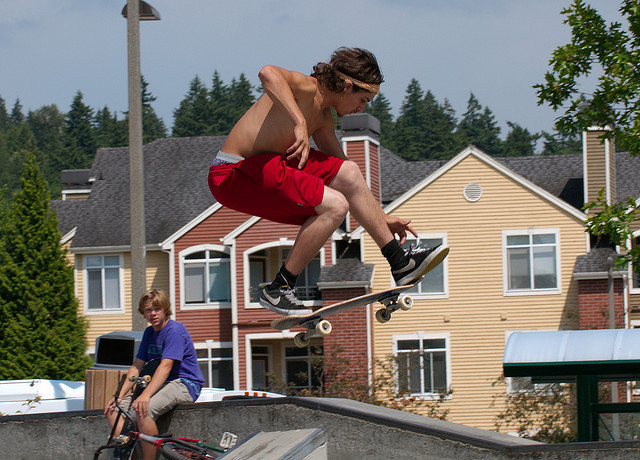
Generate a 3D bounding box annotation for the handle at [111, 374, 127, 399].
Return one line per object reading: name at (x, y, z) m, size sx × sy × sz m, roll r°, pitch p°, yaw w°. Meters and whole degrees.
handle at (-5.002, 3.894, 43.563) m, size 0.230 × 0.594 × 0.125 m, roll 22°, pitch -9°, yaw 22°
